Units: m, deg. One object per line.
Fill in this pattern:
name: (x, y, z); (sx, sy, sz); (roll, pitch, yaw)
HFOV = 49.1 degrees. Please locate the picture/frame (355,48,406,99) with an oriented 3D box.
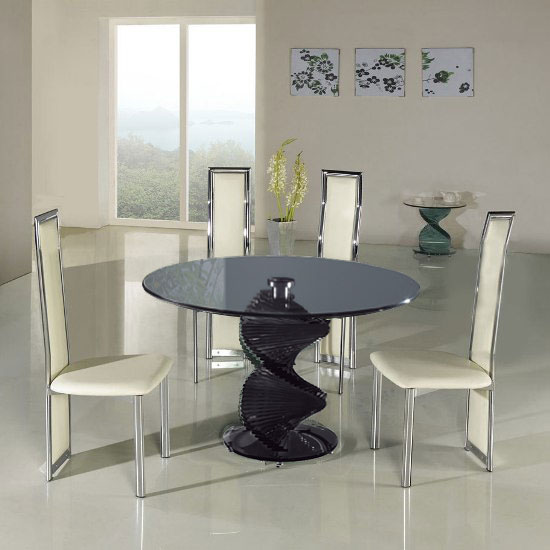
picture/frame: (1.234, -2.370, 7.026); (0.663, 0.555, 0.066); (2, 25, 6)

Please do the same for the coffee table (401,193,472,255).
coffee table: (1.791, -0.538, 6.815); (0.745, 0.493, 0.665); (0, 9, 8)

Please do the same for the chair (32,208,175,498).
chair: (-0.623, 0.284, 2.313); (0.509, 0.899, 0.467); (5, 6, 9)

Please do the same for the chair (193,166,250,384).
chair: (-0.248, -0.067, 3.651); (0.388, 1.071, 0.441); (-5, 26, -25)

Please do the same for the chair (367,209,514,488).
chair: (0.709, 0.259, 2.444); (0.588, 1.034, 0.484); (-2, 15, -11)

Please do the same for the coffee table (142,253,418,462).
coffee table: (0.013, 0.394, 2.638); (1.238, 0.723, 1.150); (6, -12, -21)

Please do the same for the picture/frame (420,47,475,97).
picture/frame: (1.979, -2.342, 6.905); (0.636, 0.533, 0.062); (1, 3, 8)

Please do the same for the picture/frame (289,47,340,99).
picture/frame: (0.474, -2.408, 7.111); (0.676, 0.538, 0.067); (1, 20, 4)

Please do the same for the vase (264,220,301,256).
vase: (0.056, -0.304, 5.208); (0.249, 0.327, 0.438); (1, 14, -1)
